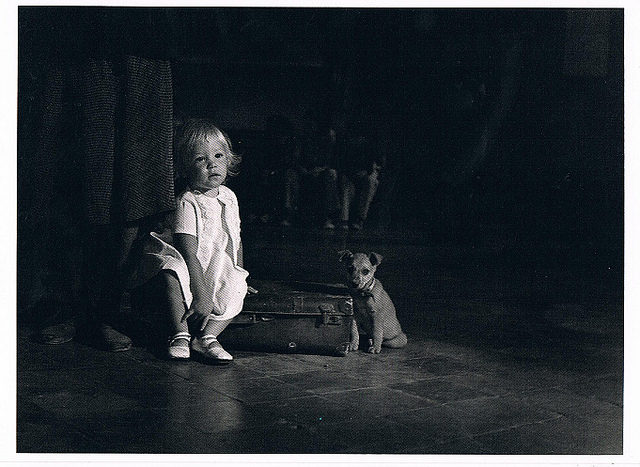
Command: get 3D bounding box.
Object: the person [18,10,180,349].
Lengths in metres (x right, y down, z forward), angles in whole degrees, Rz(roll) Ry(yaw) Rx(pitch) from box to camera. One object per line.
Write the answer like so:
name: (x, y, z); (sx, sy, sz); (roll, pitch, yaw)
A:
person: (-1.528, -0.365, 4.273); (1.133, 2.255, 0.242); (6, 3, -10)
